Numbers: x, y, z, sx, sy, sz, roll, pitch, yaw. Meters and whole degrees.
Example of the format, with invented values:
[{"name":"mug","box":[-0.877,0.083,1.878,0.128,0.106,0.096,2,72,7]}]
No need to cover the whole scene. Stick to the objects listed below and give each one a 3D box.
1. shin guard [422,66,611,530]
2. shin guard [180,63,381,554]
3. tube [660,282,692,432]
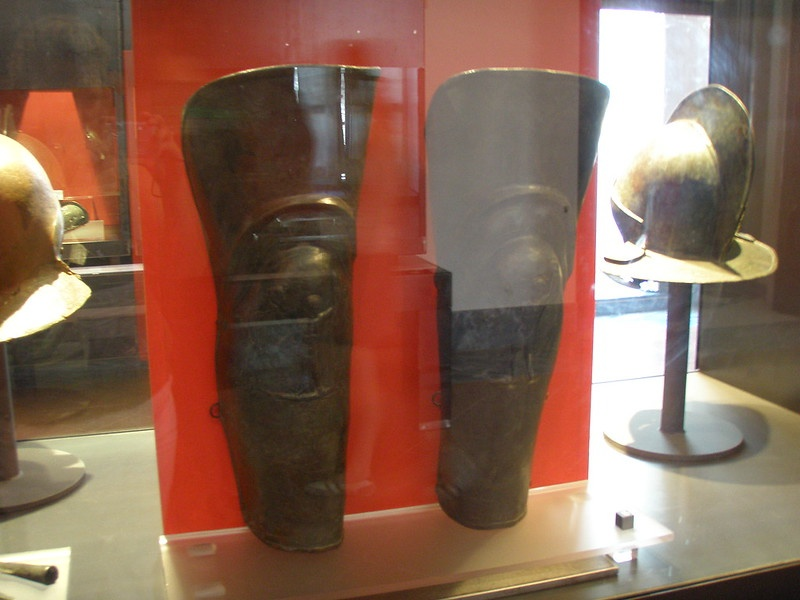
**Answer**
[{"name":"shin guard","box":[0.275,0.006,1.886,0.431,1.087,0.216,-4,15,2]},{"name":"shin guard","box":[-0.216,0.030,1.815,0.456,1.100,0.208,-8,15,-15]},{"name":"tube","box":[0.785,0.179,2.237,0.099,0.509,0.098,-6,22,0]}]
